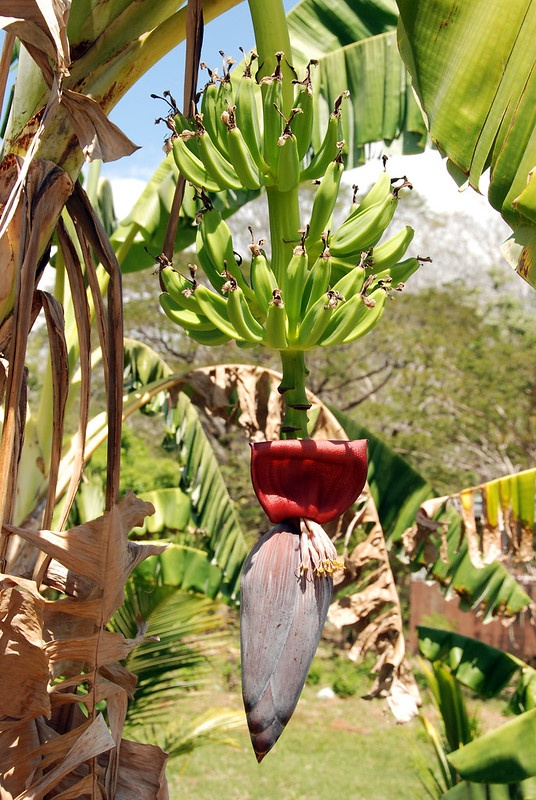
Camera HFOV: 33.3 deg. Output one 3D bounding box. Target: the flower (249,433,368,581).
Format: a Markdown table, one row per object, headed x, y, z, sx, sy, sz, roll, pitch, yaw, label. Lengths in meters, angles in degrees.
| x | y | z | sx | sy | sz | roll | pitch | yaw | label |
| --- | --- | --- | --- | --- | --- | --- | --- | --- | --- |
| 0.072 | 0.167 | 1.454 | 0.206 | 0.215 | 0.206 | 2 | 1 | 7 | flower |
